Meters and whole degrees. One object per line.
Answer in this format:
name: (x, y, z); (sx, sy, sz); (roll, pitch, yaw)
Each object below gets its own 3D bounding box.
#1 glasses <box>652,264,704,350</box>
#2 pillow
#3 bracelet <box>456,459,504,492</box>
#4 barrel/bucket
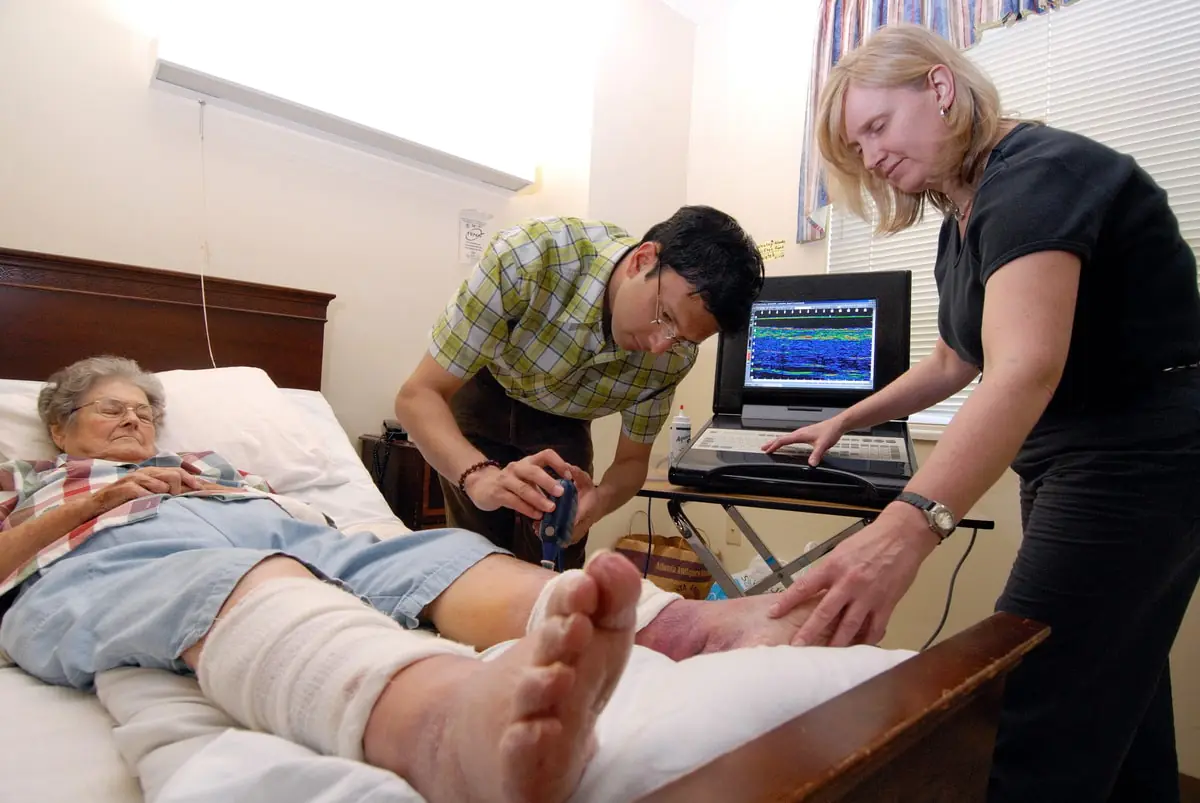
glasses: (0.168, -0.227, 1.761); (0.049, 0.155, 0.156); (-2, -14, 40)
pillow: (-1.305, 0.072, 2.422); (0.597, 0.177, 0.600); (27, 17, 34)
bracelet: (-0.287, 0.161, 1.855); (0.077, 0.031, 0.094); (-38, 10, 33)
barrel/bucket: (0.256, 0.724, 3.514); (0.460, 0.481, 0.199); (1, -8, 40)
